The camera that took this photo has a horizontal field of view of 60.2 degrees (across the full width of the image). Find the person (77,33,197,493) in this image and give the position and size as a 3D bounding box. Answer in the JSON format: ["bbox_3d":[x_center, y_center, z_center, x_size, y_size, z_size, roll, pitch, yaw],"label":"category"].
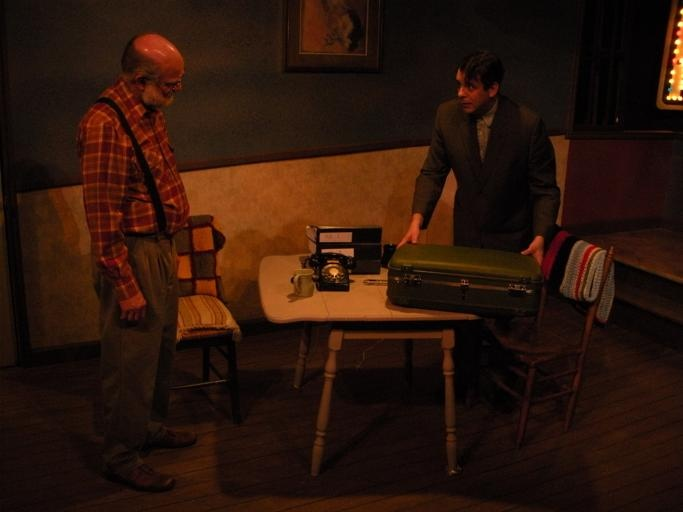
[{"bbox_3d":[-1.089,0.085,3.220,0.410,2.451,0.662,9,20,30],"label":"person"}]

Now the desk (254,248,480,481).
[{"bbox_3d":[0.243,0.634,3.937,1.168,1.044,1.351,0,16,-2],"label":"desk"}]

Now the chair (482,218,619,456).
[{"bbox_3d":[1.302,0.526,3.956,0.718,1.279,0.865,-10,17,-29],"label":"chair"}]

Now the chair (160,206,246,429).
[{"bbox_3d":[-0.968,0.367,3.859,0.587,1.074,0.692,-1,16,-12],"label":"chair"}]

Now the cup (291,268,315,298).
[{"bbox_3d":[-0.214,0.157,3.389,0.106,0.140,0.164,4,15,14],"label":"cup"}]

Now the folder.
[{"bbox_3d":[0.055,-0.119,3.783,0.406,0.281,0.306,1,8,-1],"label":"folder"}]

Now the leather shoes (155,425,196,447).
[{"bbox_3d":[-0.978,1.126,3.630,0.311,0.127,0.108,0,27,-14],"label":"leather shoes"}]

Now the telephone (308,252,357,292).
[{"bbox_3d":[-0.059,0.097,3.560,0.279,0.217,0.219,3,9,-1],"label":"telephone"}]
